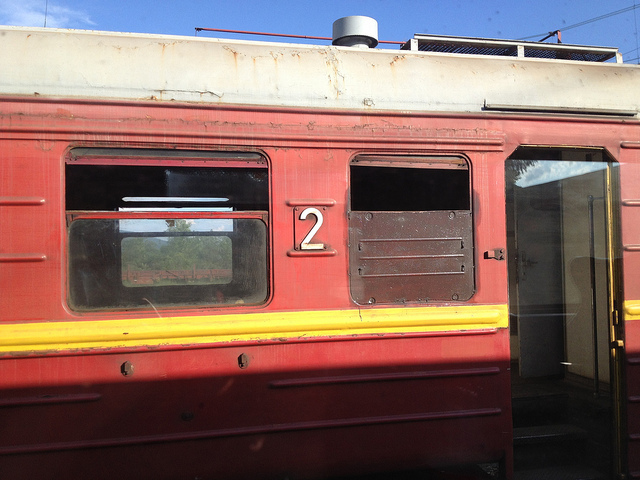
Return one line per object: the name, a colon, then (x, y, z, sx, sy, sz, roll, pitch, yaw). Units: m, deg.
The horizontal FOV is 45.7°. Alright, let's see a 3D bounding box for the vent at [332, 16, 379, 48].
vent: (0.289, -1.684, 6.237, 0.379, 0.244, 0.386, 1, 4, 21)
